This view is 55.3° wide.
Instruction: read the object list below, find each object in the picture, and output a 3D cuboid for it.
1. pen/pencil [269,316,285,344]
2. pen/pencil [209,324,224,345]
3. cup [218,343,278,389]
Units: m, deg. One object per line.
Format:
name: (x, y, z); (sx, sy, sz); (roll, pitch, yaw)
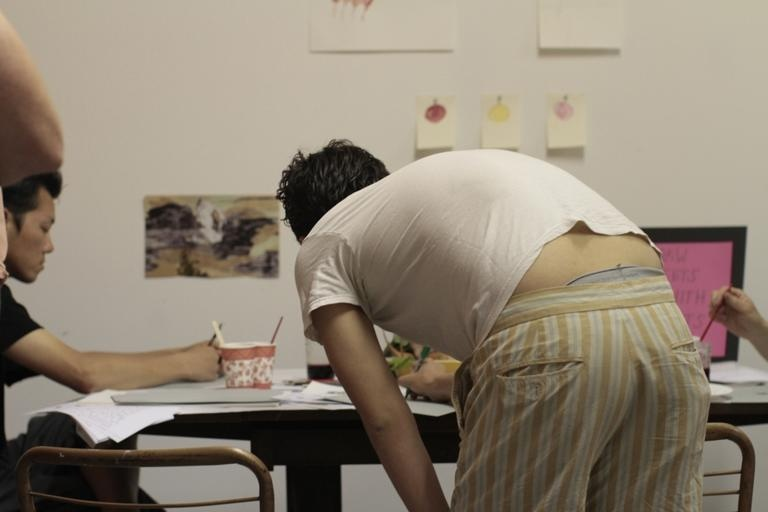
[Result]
pen/pencil: (-0.443, 0.304, 3.055); (0.022, 0.118, 0.015); (27, -3, -25)
pen/pencil: (-0.629, 0.295, 2.773); (0.026, 0.110, 0.025); (-12, 44, -12)
cup: (-0.442, 0.362, 2.451); (0.138, 0.119, 0.155); (0, -6, 2)
